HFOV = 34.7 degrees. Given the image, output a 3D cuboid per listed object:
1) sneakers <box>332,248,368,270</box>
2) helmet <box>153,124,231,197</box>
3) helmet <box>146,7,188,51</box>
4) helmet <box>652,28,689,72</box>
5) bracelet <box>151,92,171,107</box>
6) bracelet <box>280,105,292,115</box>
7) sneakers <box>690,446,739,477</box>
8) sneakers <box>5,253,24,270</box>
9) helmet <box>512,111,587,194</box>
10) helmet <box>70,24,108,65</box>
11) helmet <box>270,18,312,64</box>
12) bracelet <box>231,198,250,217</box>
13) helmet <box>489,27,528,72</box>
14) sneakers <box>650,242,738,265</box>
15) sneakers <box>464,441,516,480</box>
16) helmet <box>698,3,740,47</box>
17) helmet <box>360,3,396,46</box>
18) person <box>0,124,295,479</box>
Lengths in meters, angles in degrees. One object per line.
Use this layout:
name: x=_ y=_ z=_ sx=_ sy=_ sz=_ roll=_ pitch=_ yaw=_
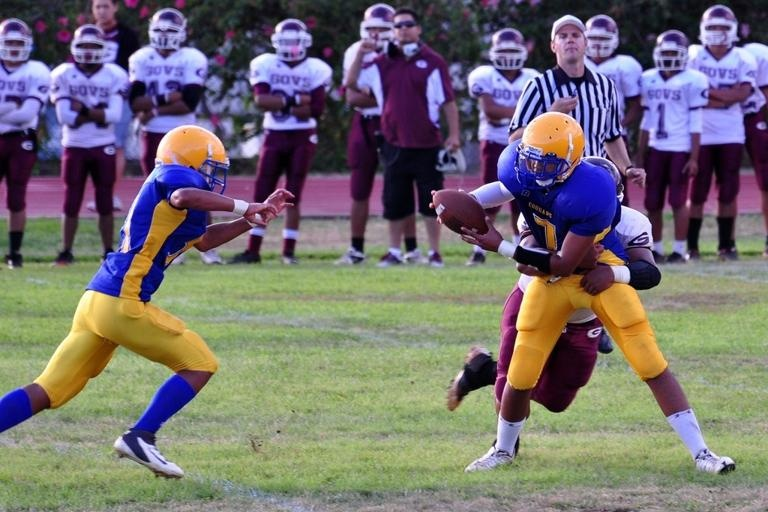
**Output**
sneakers: x=-0.394 y=-0.006 z=13.277 sx=0.423 sy=0.173 sz=0.136 roll=-3 pitch=12 yaw=-9
helmet: x=-1.224 y=-0.661 z=8.102 sx=0.537 sy=0.409 sz=0.395 roll=1 pitch=12 yaw=-17
helmet: x=-2.247 y=-2.378 z=12.836 sx=0.368 sy=0.431 sz=0.301 roll=1 pitch=1 yaw=-14
helmet: x=3.030 y=-2.155 z=12.962 sx=0.353 sy=0.341 sz=0.456 roll=1 pitch=8 yaw=15
bracelet: x=-2.318 y=-1.637 z=12.818 sx=0.172 sy=0.089 sz=0.210 roll=0 pitch=-1 yaw=-8
bracelet: x=-1.020 y=-1.558 z=12.963 sx=0.110 sy=0.082 sz=0.086 roll=1 pitch=1 yaw=-5
sneakers: x=2.071 y=1.286 z=7.778 sx=0.281 sy=0.131 sz=0.108 roll=0 pitch=46 yaw=42
sneakers: x=-3.797 y=0.043 z=12.635 sx=0.159 sy=0.098 sz=0.181 roll=-8 pitch=41 yaw=-46
helmet: x=1.060 y=-0.692 z=7.831 sx=0.505 sy=0.380 sz=0.391 roll=-38 pitch=44 yaw=-21
helmet: x=-3.002 y=-2.157 z=12.519 sx=0.348 sy=0.309 sz=0.423 roll=-1 pitch=9 yaw=-5
helmet: x=-0.979 y=-2.297 z=13.051 sx=0.393 sy=0.452 sz=0.286 roll=1 pitch=1 yaw=-9
bracelet: x=-0.939 y=-0.333 z=7.884 sx=0.102 sy=0.102 sz=0.108 roll=-17 pitch=-39 yaw=27
helmet: x=1.345 y=-2.214 z=13.285 sx=0.389 sy=0.354 sz=0.481 roll=0 pitch=4 yaw=1
sneakers: x=3.388 y=-0.037 z=13.385 sx=0.507 sy=0.190 sz=0.140 roll=-8 pitch=22 yaw=4
sneakers: x=0.693 y=1.304 z=7.933 sx=0.396 sy=0.136 sz=0.125 roll=-10 pitch=28 yaw=-24
helmet: x=3.557 y=-2.440 z=13.037 sx=0.408 sy=0.339 sz=0.443 roll=1 pitch=3 yaw=10
helmet: x=-0.041 y=-2.381 z=12.658 sx=0.374 sy=0.416 sz=0.444 roll=0 pitch=-10 yaw=2
person: x=-1.494 y=0.251 z=7.818 sx=1.630 sy=2.213 sz=0.605 roll=1 pitch=1 yaw=-16
